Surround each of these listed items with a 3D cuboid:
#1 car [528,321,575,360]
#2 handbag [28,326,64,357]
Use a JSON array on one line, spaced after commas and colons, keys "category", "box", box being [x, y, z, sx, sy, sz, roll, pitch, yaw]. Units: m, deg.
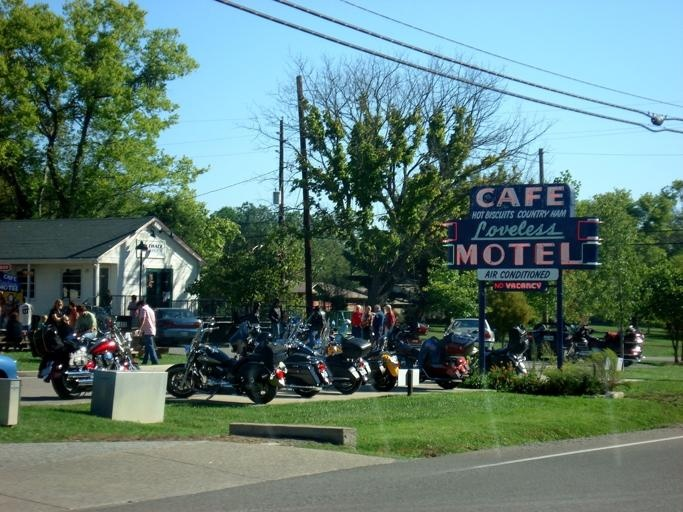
[{"category": "car", "box": [8.966, 3.517, 46.179, 1.600, 1.248, 2.712, 0, 1, 23]}, {"category": "handbag", "box": [-8.058, 2.361, 29.494, 0.434, 0.791, 1.187, -10, -8, -38]}]
